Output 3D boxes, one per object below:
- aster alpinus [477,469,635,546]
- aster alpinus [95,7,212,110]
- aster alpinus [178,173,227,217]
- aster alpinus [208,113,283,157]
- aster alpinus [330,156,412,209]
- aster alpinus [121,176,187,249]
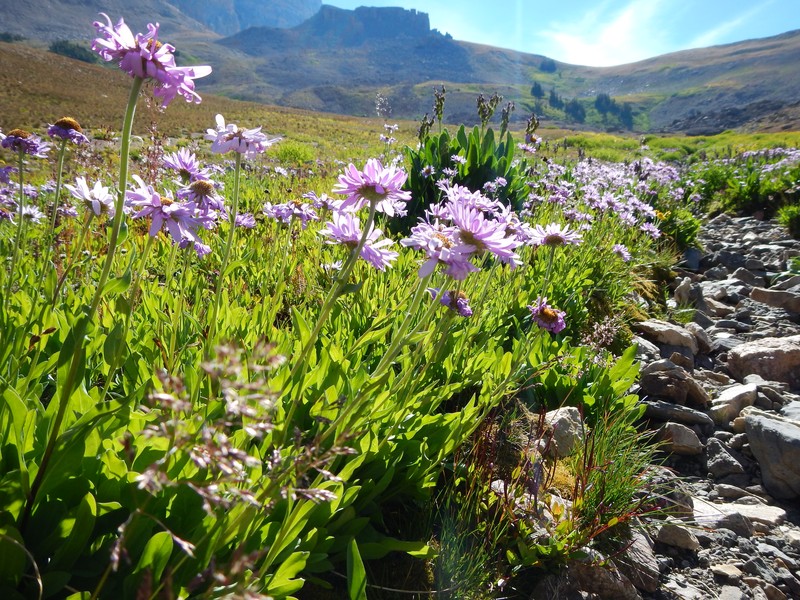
[{"bbox_3d":[0.831,1.100,2.745,0.617,0.382,0.442,2,-6,18],"label":"aster alpinus"},{"bbox_3d":[-0.866,-0.800,1.823,0.377,0.294,0.378,7,23,-15],"label":"aster alpinus"},{"bbox_3d":[-0.894,-0.479,2.374,0.216,0.110,0.221,-10,-2,-12],"label":"aster alpinus"},{"bbox_3d":[-0.709,-0.687,2.306,0.274,0.199,0.415,3,26,-24],"label":"aster alpinus"},{"bbox_3d":[-0.138,-0.452,2.049,0.213,0.132,0.233,-29,1,-24],"label":"aster alpinus"},{"bbox_3d":[-1.017,-0.373,2.223,0.254,0.261,0.338,-11,32,-45],"label":"aster alpinus"}]
